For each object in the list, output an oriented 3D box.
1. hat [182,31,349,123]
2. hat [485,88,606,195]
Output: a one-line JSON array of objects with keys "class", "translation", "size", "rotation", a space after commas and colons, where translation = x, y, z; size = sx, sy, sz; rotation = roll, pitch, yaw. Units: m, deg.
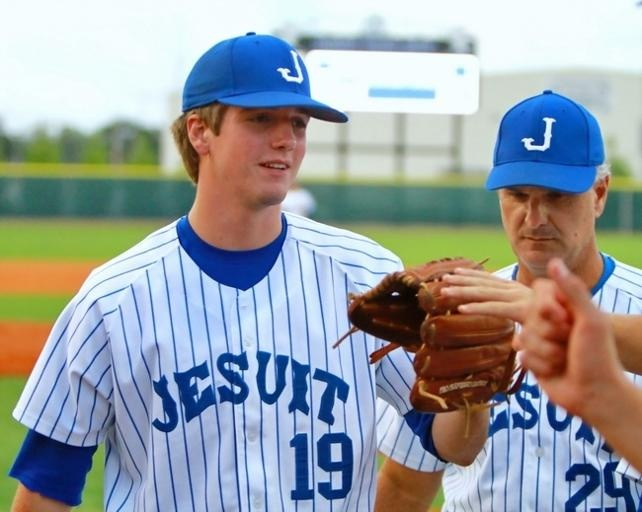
[{"class": "hat", "translation": [-0.264, -0.776, 5.434], "size": [0.534, 0.338, 0.418], "rotation": [1, 3, 39]}, {"class": "hat", "translation": [1.033, -0.520, 5.854], "size": [0.372, 0.350, 0.554], "rotation": [4, 16, 24]}]
